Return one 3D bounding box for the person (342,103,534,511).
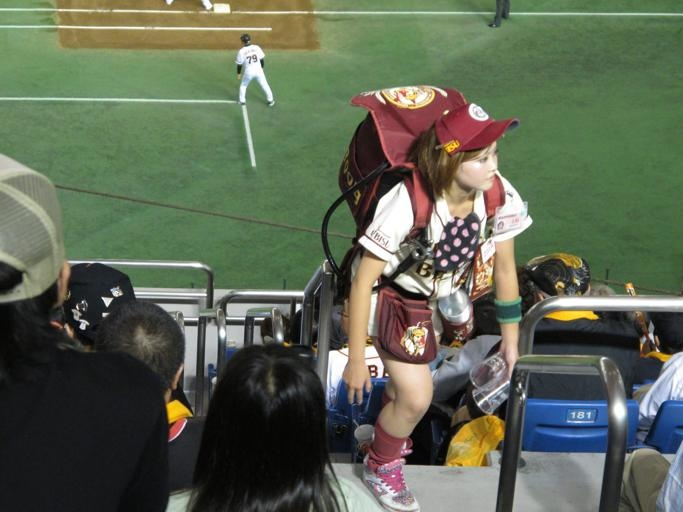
[{"bbox_3d":[0.377,0.176,3.324,0.718,1.487,0.428,-1,4,2],"label":"person"}]

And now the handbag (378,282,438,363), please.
[{"bbox_3d":[0.258,0.267,3.305,0.216,0.291,0.146,12,-16,-27],"label":"handbag"}]

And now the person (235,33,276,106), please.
[{"bbox_3d":[-1.072,-2.283,10.602,0.433,0.898,0.270,-6,41,-2],"label":"person"}]

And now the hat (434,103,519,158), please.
[{"bbox_3d":[0.485,-0.456,3.123,0.256,0.101,0.176,-10,34,25],"label":"hat"}]

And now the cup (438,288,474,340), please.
[{"bbox_3d":[0.454,0.221,3.453,0.143,0.135,0.223,-15,-30,9],"label":"cup"}]
